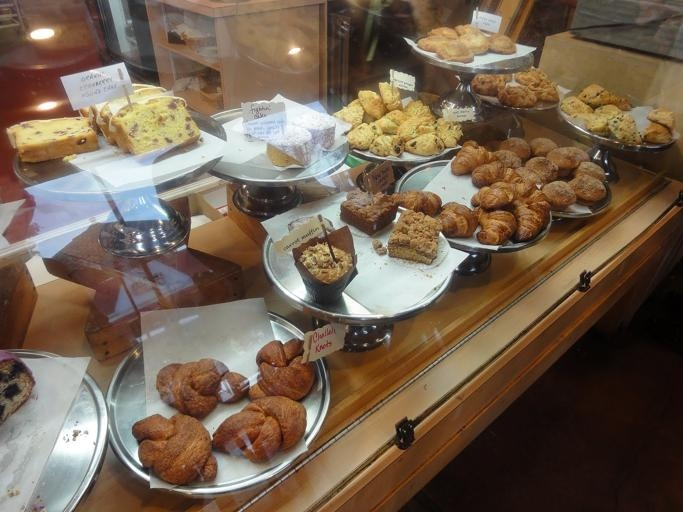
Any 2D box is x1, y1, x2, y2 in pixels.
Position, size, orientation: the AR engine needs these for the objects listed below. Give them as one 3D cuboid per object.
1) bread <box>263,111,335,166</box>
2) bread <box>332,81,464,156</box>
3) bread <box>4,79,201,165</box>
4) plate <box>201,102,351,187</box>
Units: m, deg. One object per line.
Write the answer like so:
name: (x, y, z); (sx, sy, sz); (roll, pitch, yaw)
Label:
bread: (-0.157, -0.457, 2.023); (0.180, 0.098, 0.303); (34, 51, 27)
bread: (0.273, -0.646, 2.445); (0.512, 0.152, 0.478); (-18, 45, -24)
bread: (-0.785, -0.400, 1.650); (0.488, 0.154, 0.274); (-21, 43, -27)
plate: (-0.275, -0.400, 1.984); (0.486, 0.059, 0.449); (32, 52, 23)
